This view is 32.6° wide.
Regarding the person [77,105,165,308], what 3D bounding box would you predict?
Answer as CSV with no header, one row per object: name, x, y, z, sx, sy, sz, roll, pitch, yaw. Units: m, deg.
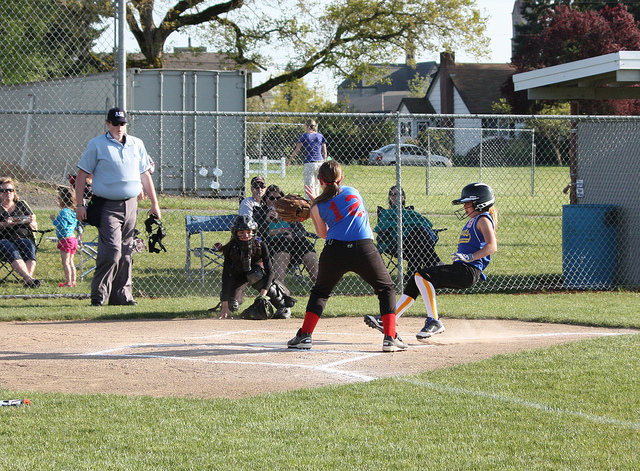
person,-3.092,-0.385,17.031,1.244,3.053,0.806,-1,5,-28

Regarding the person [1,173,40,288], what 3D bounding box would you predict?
person,-5.049,-0.043,18.477,0.566,1.833,0.666,-2,3,-17

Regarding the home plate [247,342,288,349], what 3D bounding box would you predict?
home plate,-0.721,1.557,15.437,0.529,0.045,0.240,-1,3,-1

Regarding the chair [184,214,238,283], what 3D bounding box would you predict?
chair,-1.846,0.236,19.572,0.805,1.209,0.937,-4,1,1

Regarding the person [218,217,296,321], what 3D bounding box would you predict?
person,-1.000,0.502,16.536,1.214,1.521,1.117,4,25,23

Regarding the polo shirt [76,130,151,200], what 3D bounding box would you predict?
polo shirt,-3.077,-1.046,16.823,0.646,1.212,0.750,4,7,36

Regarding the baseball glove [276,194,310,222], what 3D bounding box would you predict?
baseball glove,-0.359,-0.393,15.265,0.544,0.477,0.437,-2,22,1

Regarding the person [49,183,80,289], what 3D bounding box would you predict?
person,-4.278,0.038,18.505,0.409,1.673,0.893,-2,3,-14

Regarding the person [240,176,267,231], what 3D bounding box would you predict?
person,-1.034,-0.493,18.190,0.500,0.961,0.563,-5,-8,30

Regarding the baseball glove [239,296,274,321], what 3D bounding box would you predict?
baseball glove,-0.945,1.127,16.633,0.423,0.226,0.333,-2,3,28
